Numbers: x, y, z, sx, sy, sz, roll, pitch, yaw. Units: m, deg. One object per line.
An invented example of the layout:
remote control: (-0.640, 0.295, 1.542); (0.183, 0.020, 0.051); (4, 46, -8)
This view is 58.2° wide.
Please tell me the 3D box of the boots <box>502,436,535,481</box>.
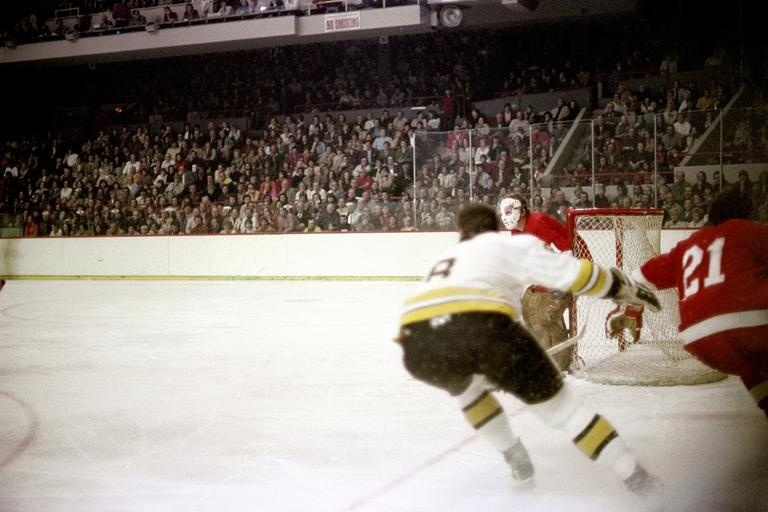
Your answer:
boots: (1.079, 1.662, 5.675); (0.178, 0.314, 0.308); (-22, 9, -32)

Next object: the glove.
glove: (2.006, 0.444, 5.696); (0.534, 1.026, 0.312); (-47, 56, 0)
